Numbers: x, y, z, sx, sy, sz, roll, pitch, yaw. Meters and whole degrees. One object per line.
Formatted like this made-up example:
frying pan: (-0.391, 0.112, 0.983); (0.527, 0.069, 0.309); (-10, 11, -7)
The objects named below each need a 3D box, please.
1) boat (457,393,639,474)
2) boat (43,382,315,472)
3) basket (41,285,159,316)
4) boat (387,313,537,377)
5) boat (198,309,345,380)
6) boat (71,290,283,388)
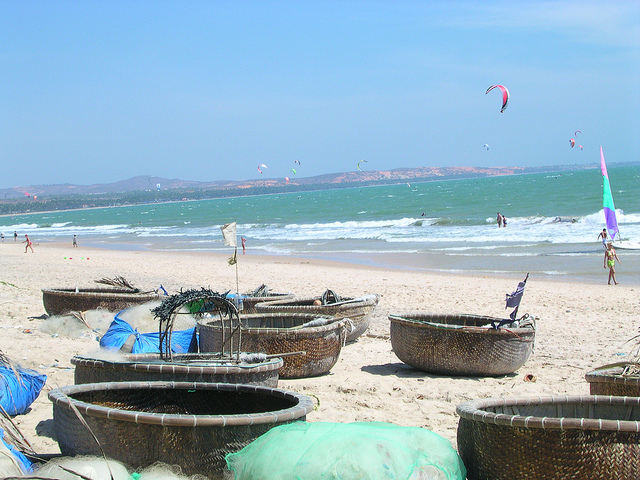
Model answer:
boat: (1.981, 1.724, 6.720); (0.906, 0.382, 0.925); (6, -15, -17)
boat: (-1.301, 1.654, 7.186); (2.317, 0.751, 0.996); (-4, 3, 3)
basket: (-3.477, 0.927, 12.702); (1.851, 0.424, 1.231); (-4, 3, 7)
boat: (1.842, 1.303, 10.038); (1.141, 0.501, 1.143); (5, -9, -8)
boat: (-0.583, 1.277, 9.918); (1.244, 0.497, 1.097); (-2, 1, 13)
boat: (-1.401, 1.264, 8.881); (1.480, 0.723, 1.546); (-1, -8, 8)
